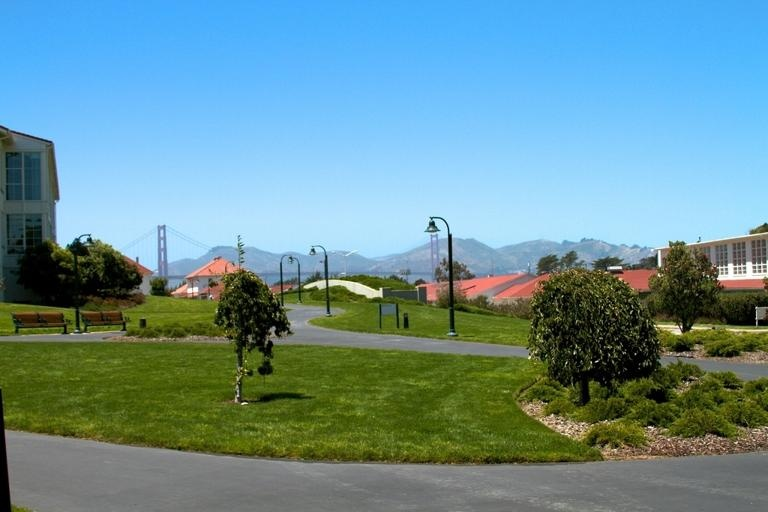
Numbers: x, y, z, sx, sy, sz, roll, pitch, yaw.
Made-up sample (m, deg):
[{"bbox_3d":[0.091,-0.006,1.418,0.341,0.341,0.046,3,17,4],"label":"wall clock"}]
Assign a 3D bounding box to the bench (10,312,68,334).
[{"bbox_3d":[-18.398,3.528,49.144,2.806,1.101,3.073,0,-4,-33],"label":"bench"}]
